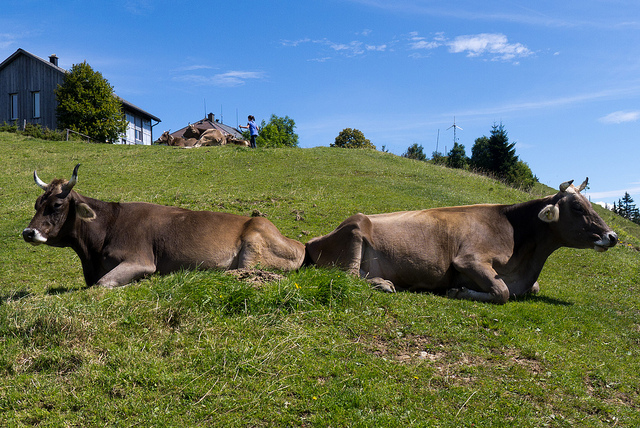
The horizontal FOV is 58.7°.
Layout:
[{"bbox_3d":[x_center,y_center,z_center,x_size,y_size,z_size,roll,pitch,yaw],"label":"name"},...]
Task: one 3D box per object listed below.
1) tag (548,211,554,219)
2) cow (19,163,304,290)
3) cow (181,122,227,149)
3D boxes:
[{"bbox_3d":[5.306,0.013,13.088,0.114,0.145,0.030,10,12,16],"label":"tag"},{"bbox_3d":[-3.648,0.866,13.455,6.389,3.065,1.890,6,-19,-21],"label":"cow"},{"bbox_3d":[-7.617,-5.155,38.606,3.396,2.072,1.221,-2,-15,-8],"label":"cow"}]
